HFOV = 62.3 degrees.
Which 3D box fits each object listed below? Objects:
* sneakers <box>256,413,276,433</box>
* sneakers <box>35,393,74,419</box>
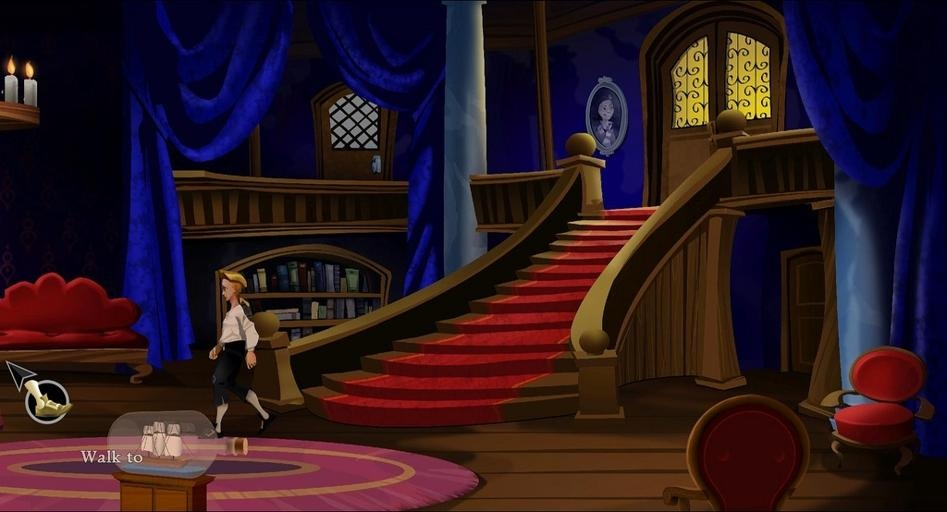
[{"bbox_3d":[-2.414,1.944,9.078,0.163,0.111,0.391,24,-35,-11],"label":"sneakers"},{"bbox_3d":[-3.868,1.382,7.293,0.352,0.226,0.180,-5,-1,-5],"label":"sneakers"}]
